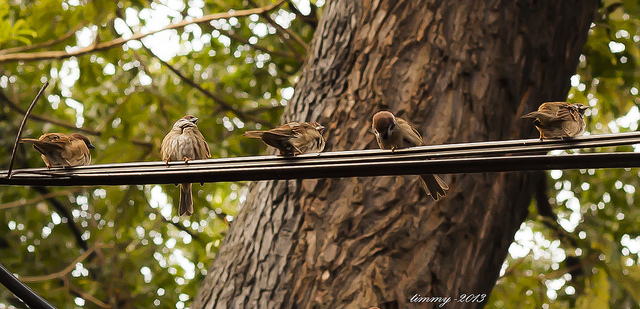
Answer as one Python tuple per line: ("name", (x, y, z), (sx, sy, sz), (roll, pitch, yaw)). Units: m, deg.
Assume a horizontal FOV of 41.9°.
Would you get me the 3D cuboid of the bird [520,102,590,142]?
("bird", (5.140, -0.711, 17.804), (1.191, 0.607, 0.681), (0, -58, 7))
